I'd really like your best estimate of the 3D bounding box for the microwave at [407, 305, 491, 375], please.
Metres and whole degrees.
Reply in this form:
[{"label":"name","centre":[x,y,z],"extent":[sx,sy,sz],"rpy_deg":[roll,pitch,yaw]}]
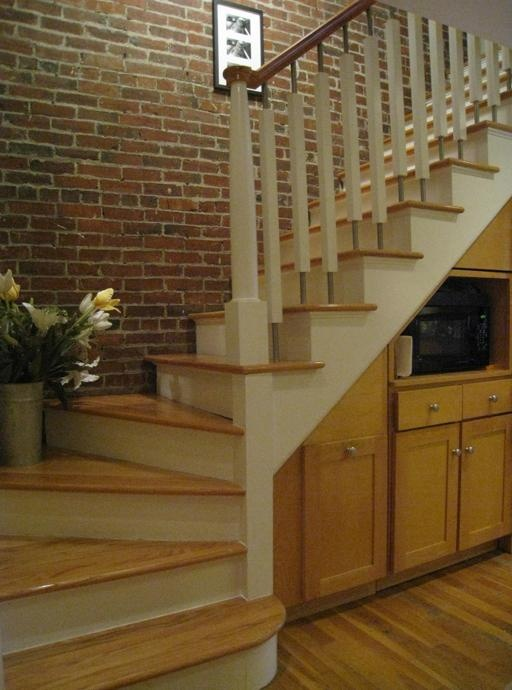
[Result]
[{"label":"microwave","centre":[0.875,-0.024,2.635],"extent":[0.495,0.313,0.292],"rpy_deg":[-5,5,-35]}]
